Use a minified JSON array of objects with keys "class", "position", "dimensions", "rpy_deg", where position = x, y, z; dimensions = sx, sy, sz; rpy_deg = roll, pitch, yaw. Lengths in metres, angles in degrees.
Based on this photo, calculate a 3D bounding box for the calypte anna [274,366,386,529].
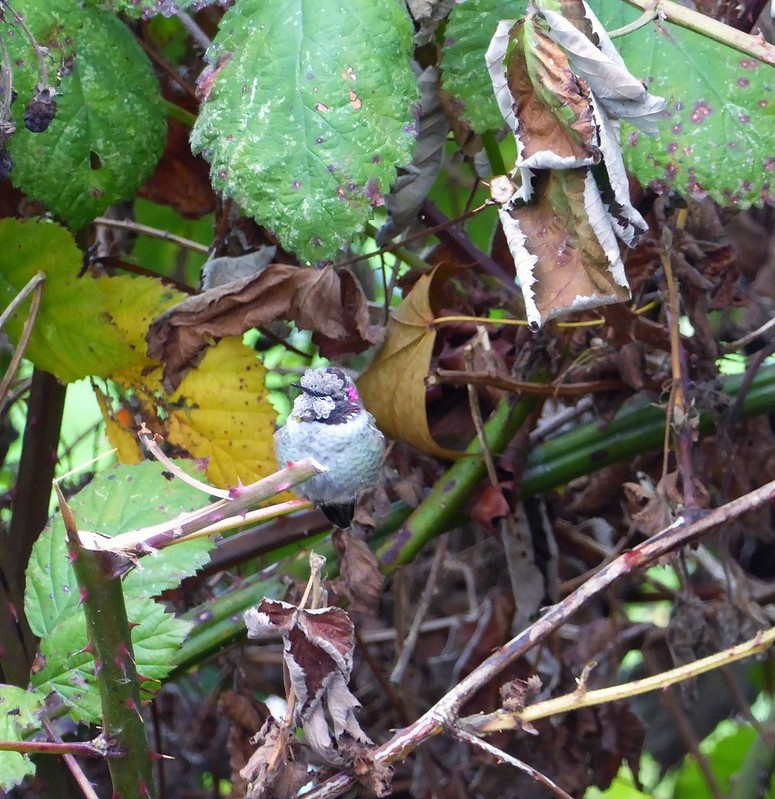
[{"class":"calypte anna","position":[-0.049,0.045,0.958],"dimensions":[0.097,0.099,0.136],"rpy_deg":[-4,83,56]}]
